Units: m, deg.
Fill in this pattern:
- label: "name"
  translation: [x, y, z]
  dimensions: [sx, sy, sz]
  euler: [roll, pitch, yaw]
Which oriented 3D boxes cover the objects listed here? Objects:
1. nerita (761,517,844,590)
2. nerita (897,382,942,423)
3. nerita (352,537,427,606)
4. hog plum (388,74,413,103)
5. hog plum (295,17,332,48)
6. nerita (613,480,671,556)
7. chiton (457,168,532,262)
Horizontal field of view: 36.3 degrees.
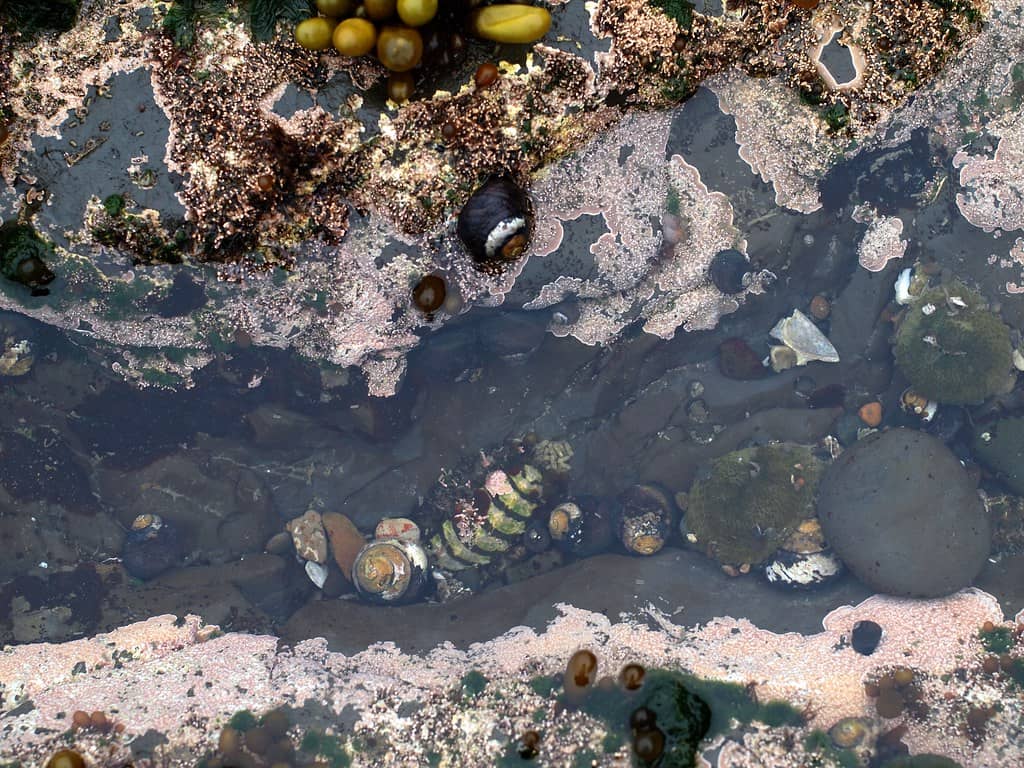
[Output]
- label: "nerita"
  translation: [3.270, 1.951, 17.683]
  dimensions: [0.766, 0.806, 0.596]
  euler: [-18, 32, -30]
- label: "nerita"
  translation: [4.593, 0.174, 17.692]
  dimensions: [0.391, 0.317, 0.309]
  euler: [1, 29, -21]
- label: "nerita"
  translation: [-1.372, 2.084, 17.713]
  dimensions: [0.839, 0.340, 0.732]
  euler: [1, 81, 0]
- label: "hog plum"
  translation: [-1.121, -3.026, 15.954]
  dimensions: [0.259, 0.179, 0.247]
  euler: [-8, 80, -1]
- label: "hog plum"
  translation: [-1.961, -3.517, 15.742]
  dimensions: [0.399, 0.309, 0.254]
  euler: [-14, 80, -2]
- label: "nerita"
  translation: [1.530, 1.521, 17.827]
  dimensions: [0.663, 0.122, 0.764]
  euler: [1, 81, 0]
- label: "chiton"
  translation: [-0.184, -1.654, 16.293]
  dimensions: [0.691, 0.841, 0.718]
  euler: [12, 48, -16]
